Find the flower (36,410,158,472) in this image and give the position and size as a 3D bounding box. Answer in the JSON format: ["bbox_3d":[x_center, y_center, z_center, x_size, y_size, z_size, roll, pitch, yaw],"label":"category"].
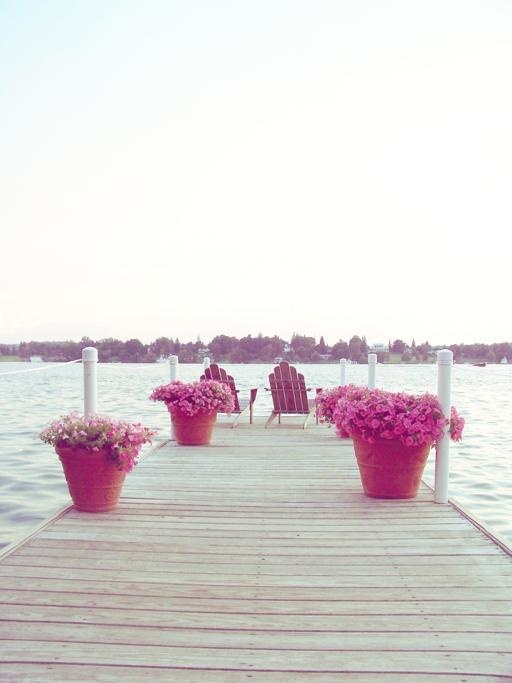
[{"bbox_3d":[-1.103,0.654,4.461,0.764,0.289,0.666,8,-13,-28],"label":"flower"}]

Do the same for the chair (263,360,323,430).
[{"bbox_3d":[0.516,0.794,9.664,0.757,0.908,1.055,-2,1,20],"label":"chair"}]

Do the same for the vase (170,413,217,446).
[{"bbox_3d":[-0.742,1.019,7.705,0.436,0.281,0.442,-1,-1,38],"label":"vase"}]

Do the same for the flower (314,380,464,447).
[{"bbox_3d":[0.965,0.537,5.093,0.970,0.419,1.163,4,-3,2],"label":"flower"}]

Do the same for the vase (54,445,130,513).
[{"bbox_3d":[-1.031,0.899,4.421,0.493,0.363,0.473,-2,-10,11],"label":"vase"}]

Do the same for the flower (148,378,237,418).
[{"bbox_3d":[-0.677,0.633,7.488,0.574,0.263,0.545,1,0,-23],"label":"flower"}]

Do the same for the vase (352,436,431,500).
[{"bbox_3d":[0.945,0.892,4.826,0.515,0.343,0.513,-1,-2,30],"label":"vase"}]
